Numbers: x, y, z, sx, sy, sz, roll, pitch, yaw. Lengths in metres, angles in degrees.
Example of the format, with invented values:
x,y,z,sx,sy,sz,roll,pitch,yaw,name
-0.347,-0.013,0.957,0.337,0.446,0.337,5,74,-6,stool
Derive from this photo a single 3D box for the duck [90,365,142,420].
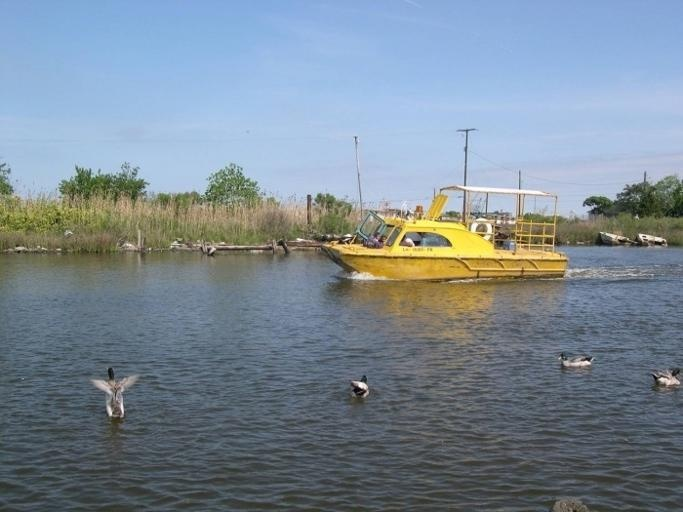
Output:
x,y,z,sx,sy,sz,roll,pitch,yaw,name
-4.333,2.612,15.623,0.962,1.037,1.250,6,9,9,duck

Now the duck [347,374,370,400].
x,y,z,sx,sy,sz,roll,pitch,yaw,name
0.400,2.702,16.425,0.253,0.350,0.598,2,3,24,duck

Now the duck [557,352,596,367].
x,y,z,sx,sy,sz,roll,pitch,yaw,name
5.435,2.401,18.297,0.806,0.423,0.327,0,-8,7,duck
